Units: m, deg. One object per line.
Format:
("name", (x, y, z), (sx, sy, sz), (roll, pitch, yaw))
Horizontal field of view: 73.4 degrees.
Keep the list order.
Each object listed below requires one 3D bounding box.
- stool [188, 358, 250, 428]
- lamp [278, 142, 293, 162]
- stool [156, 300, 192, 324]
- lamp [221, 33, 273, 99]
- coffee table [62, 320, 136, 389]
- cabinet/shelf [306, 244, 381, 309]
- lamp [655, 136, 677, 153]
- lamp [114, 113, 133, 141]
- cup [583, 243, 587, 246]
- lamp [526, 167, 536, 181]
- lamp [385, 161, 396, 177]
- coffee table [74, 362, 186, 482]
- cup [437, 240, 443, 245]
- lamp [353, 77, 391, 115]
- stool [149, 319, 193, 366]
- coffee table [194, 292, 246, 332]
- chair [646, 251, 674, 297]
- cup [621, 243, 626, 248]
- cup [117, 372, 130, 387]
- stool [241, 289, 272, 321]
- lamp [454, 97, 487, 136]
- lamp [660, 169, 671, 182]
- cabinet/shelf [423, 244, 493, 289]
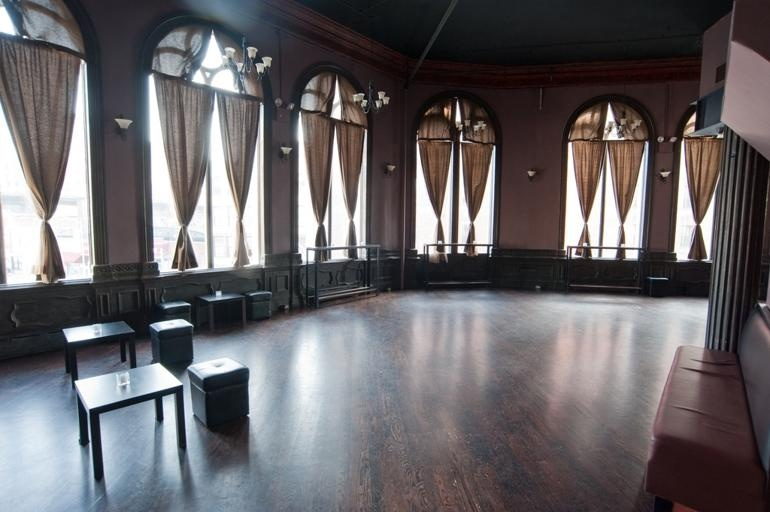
("stool", (-1.797, 1.428, 5.719), (0.594, 0.673, 0.587), (-6, 9, -41))
("lamp", (-1.668, -1.760, 8.808), (0.265, 0.318, 0.239), (-1, 8, -37))
("stool", (-3.084, 0.798, 7.514), (0.317, 0.281, 0.322), (3, 4, 44))
("lamp", (-2.144, -2.969, 8.008), (0.677, 0.903, 0.868), (4, 2, -14))
("coffee table", (-3.570, 1.108, 6.422), (0.719, 0.607, 0.720), (-3, 6, -40))
("cabinet/shelf", (-0.779, 0.281, 9.748), (0.577, 1.069, 1.933), (8, 11, 43))
("lamp", (5.762, -2.289, 10.576), (0.361, 0.420, 0.283), (0, 3, 20))
("lamp", (-3.703, -1.818, 7.263), (0.073, 0.417, 0.306), (11, 15, 28))
("cup", (4.196, -0.236, 10.840), (0.033, 0.050, 0.065), (0, -3, -21))
("lamp", (3.096, -1.750, 10.943), (0.162, 0.271, 0.059), (1, 4, 8))
("lamp", (0.128, -1.768, 10.498), (0.134, 0.259, 0.315), (7, 11, 41))
("coffee table", (-2.588, 1.651, 5.264), (0.938, 0.838, 0.862), (-5, 10, -34))
("cup", (1.147, -0.308, 10.728), (0.101, 0.126, 0.113), (-5, 13, -2))
("lamp", (-0.277, -3.063, 9.727), (0.764, 0.665, 0.765), (19, 27, 39))
("stool", (-2.742, 1.101, 6.784), (0.491, 0.596, 0.506), (2, 4, 37))
("coffee table", (-2.535, 0.812, 7.996), (0.571, 0.552, 0.564), (0, 1, -40))
("chair", (5.629, 0.367, 10.533), (0.581, 0.850, 0.537), (2, 8, 15))
("cup", (4.963, -0.208, 10.768), (0.081, 0.058, 0.087), (-2, 0, 0))
("cup", (-2.706, 1.276, 5.330), (0.128, 0.141, 0.131), (0, 0, 0))
("stool", (-2.038, 0.792, 8.304), (0.363, 0.541, 0.499), (-1, 0, 38))
("lamp", (1.839, -2.855, 11.222), (0.379, 0.932, 1.062), (-8, 4, 3))
("lamp", (5.728, -1.652, 10.561), (0.201, 0.176, 0.204), (-2, 6, 12))
("cabinet/shelf", (1.554, 0.197, 10.950), (1.540, 0.974, 0.527), (0, 8, -4))
